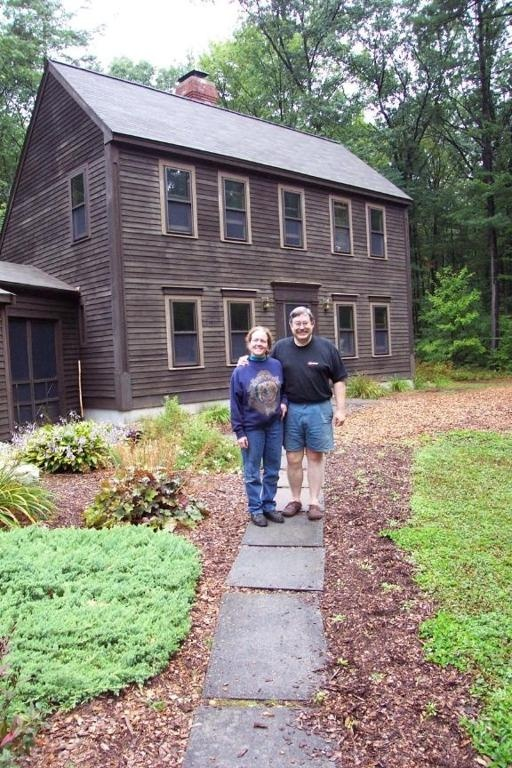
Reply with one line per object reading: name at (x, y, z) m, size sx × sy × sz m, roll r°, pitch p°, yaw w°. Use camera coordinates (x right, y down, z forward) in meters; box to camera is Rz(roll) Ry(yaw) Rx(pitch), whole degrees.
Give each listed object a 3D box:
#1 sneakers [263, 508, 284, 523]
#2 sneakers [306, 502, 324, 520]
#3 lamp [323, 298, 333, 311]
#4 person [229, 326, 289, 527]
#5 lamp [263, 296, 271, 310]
sneakers at (0.137, 1.019, 4.630) m, size 0.062 × 0.070 × 0.171 m, roll -3°, pitch -2°, yaw -32°
sneakers at (0.444, 0.981, 4.621) m, size 0.099 × 0.090 × 0.219 m, roll -2°, pitch -5°, yaw 5°
lamp at (1.678, -1.895, 14.299) m, size 0.182 × 0.319 × 0.317 m, roll 0°, pitch 0°, yaw 33°
person at (0.019, 0.402, 4.509) m, size 0.422 × 1.299 × 0.267 m, roll -3°, pitch 9°, yaw -15°
lamp at (0.218, -1.709, 12.778) m, size 0.211 × 0.301 × 0.200 m, roll -1°, pitch -3°, yaw -4°
